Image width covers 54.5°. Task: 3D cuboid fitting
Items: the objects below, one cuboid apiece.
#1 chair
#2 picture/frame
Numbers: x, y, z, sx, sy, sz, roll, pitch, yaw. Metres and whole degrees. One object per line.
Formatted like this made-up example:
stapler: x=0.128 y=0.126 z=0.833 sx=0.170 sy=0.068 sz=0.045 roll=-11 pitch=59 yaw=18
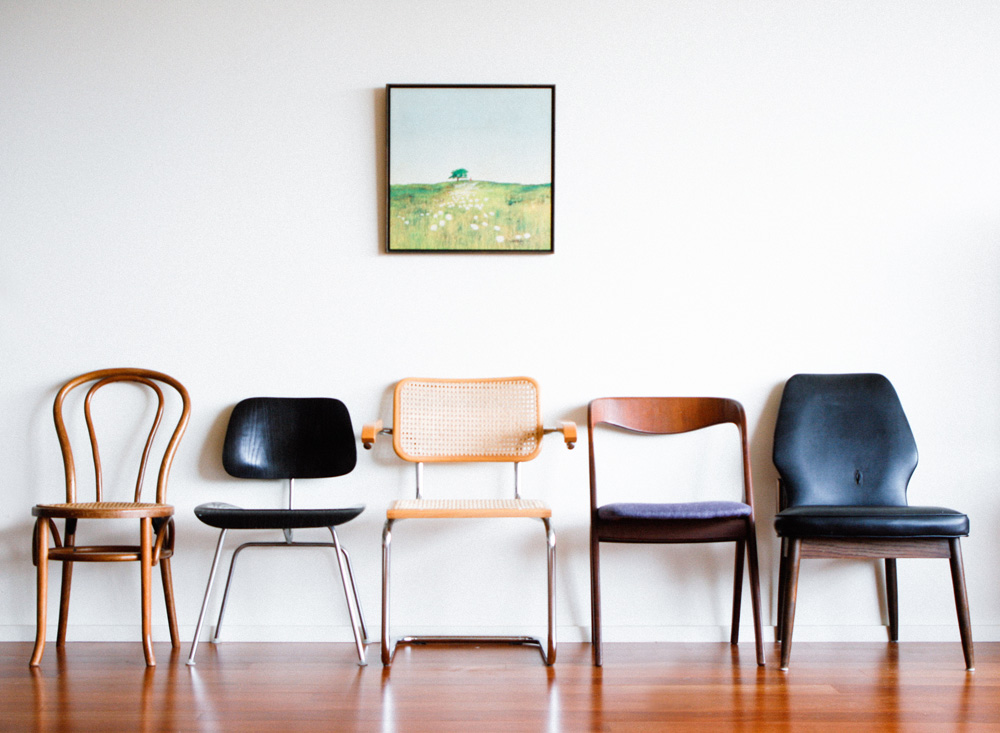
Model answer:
chair: x=-0.455 y=0.598 z=3.941 sx=2.968 sy=1.180 sz=0.568 roll=1 pitch=-3 yaw=-1
picture/frame: x=-0.129 y=-0.846 z=4.184 sx=0.716 sy=0.682 sz=0.029 roll=0 pitch=-3 yaw=-3
